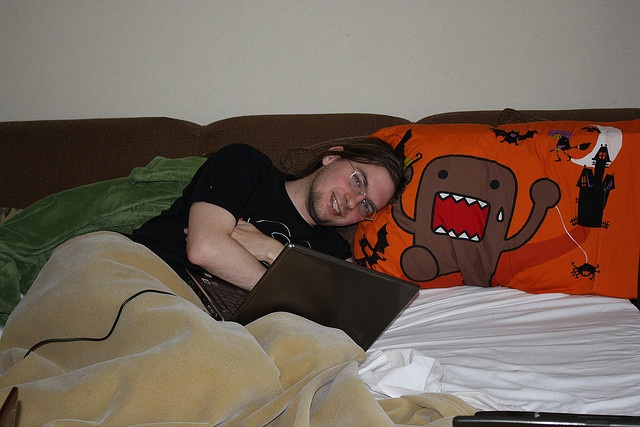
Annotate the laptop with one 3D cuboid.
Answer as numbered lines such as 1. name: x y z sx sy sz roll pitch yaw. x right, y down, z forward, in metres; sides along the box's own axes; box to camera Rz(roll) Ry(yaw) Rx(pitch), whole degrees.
1. laptop: -0.005 0.247 1.641 0.447 0.305 0.466 16 14 -33
